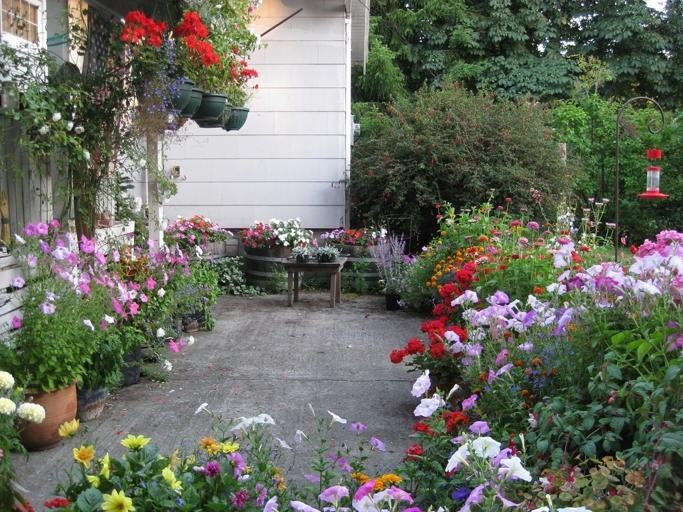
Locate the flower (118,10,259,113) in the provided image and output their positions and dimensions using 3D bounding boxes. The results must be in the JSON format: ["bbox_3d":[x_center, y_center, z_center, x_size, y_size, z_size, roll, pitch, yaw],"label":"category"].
[{"bbox_3d":[-1.304,-1.866,5.328,0.599,1.092,1.664,1,8,10],"label":"flower"}]

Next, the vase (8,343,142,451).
[{"bbox_3d":[-1.830,0.888,3.924,0.234,0.615,0.636,1,7,13],"label":"vase"}]

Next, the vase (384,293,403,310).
[{"bbox_3d":[0.697,0.601,8.071,0.200,0.182,0.207,-1,4,21],"label":"vase"}]

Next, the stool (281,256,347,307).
[{"bbox_3d":[-0.368,0.326,8.510,0.793,0.611,1.043,0,7,1],"label":"stool"}]
